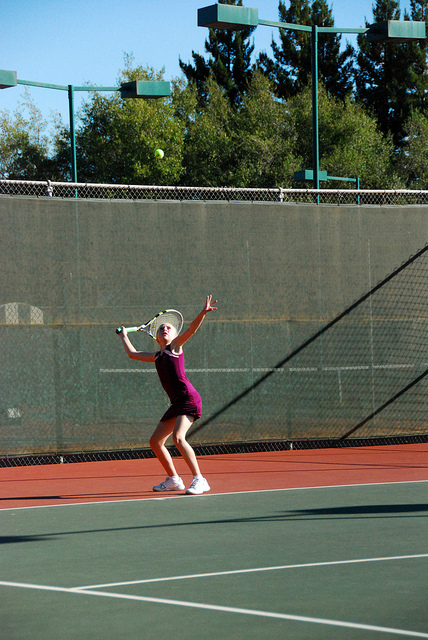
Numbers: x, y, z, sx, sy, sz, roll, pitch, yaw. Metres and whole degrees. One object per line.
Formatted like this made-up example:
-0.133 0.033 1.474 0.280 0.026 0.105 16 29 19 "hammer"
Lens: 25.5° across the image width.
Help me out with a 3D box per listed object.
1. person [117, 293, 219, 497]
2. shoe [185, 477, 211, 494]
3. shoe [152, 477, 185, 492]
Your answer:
-0.509 0.754 9.587 0.458 1.595 1.138 18 -36 -32 "person"
-0.140 1.443 8.162 0.195 0.152 0.167 -6 3 -13 "shoe"
-0.400 1.455 8.308 0.291 0.154 0.109 3 -5 -11 "shoe"
